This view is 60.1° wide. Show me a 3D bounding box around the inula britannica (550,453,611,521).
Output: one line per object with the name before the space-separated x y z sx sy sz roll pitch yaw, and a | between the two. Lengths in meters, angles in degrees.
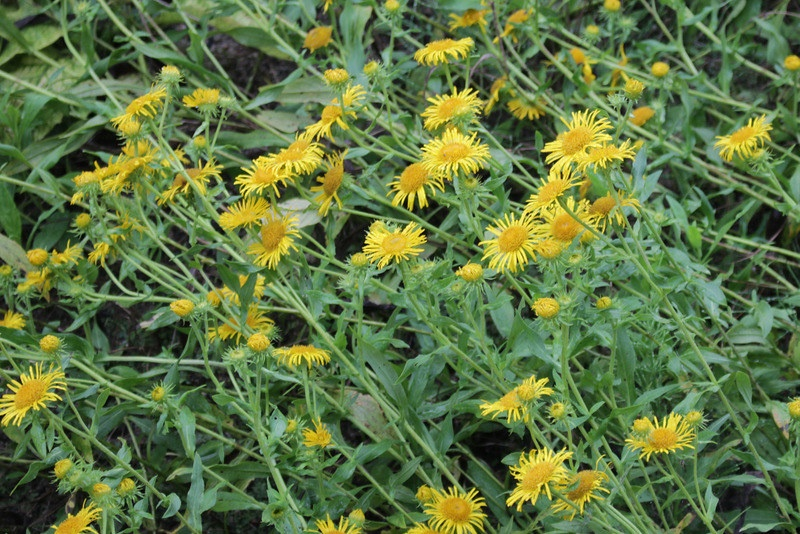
inula britannica | 0.561 0.681 2.140 0.080 0.213 0.218 47 37 -6

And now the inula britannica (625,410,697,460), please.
inula britannica | 0.813 0.534 2.147 0.175 0.185 0.072 -6 86 -50

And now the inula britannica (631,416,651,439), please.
inula britannica | 0.758 0.498 2.158 0.060 0.025 0.064 -27 104 -7

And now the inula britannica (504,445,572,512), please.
inula britannica | 0.427 0.629 2.090 0.056 0.230 0.239 25 53 -21
